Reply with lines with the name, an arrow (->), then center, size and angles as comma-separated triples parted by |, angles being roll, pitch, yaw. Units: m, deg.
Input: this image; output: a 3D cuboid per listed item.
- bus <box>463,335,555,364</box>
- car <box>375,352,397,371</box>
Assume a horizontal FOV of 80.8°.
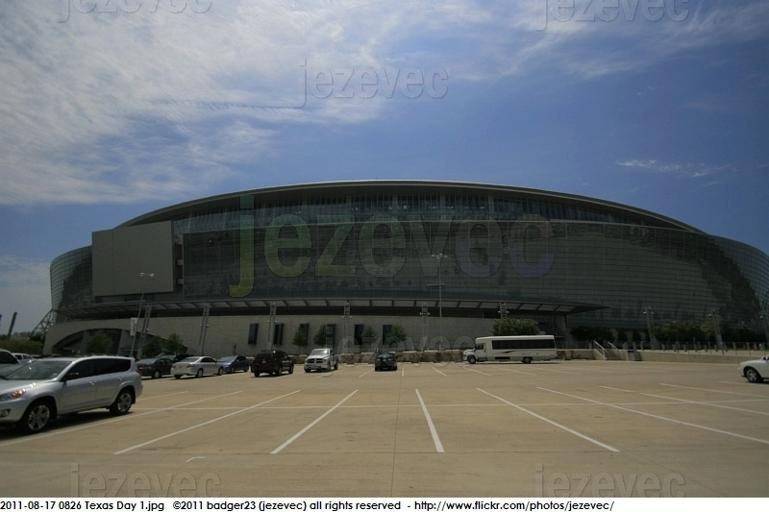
bus -> 15.990, 10.669, 50.725 | 13.328, 3.557, 3.326 | 0, -8, 4
car -> 0.110, 9.710, 41.332 | 1.762, 1.422, 0.943 | -5, -13, 14
